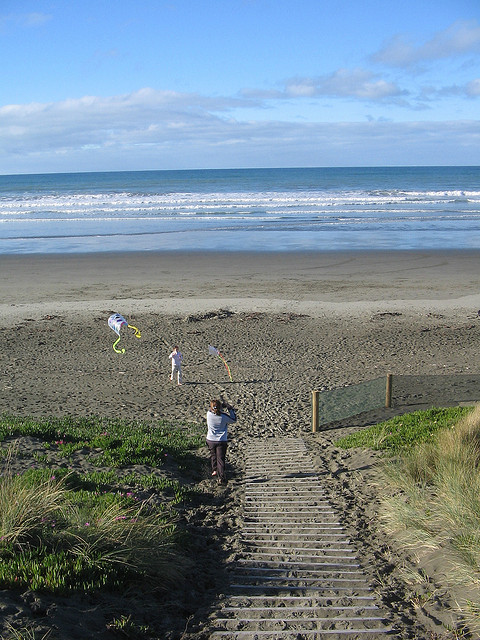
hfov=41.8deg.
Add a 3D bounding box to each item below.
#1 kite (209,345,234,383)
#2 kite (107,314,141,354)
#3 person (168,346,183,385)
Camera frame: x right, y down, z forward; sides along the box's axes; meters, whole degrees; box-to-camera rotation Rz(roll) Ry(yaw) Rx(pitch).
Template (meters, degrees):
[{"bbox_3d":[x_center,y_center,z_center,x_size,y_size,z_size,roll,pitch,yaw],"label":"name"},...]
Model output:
[{"bbox_3d":[-0.539,1.222,17.312,0.197,0.266,1.281,30,22,-44],"label":"kite"},{"bbox_3d":[-3.194,0.250,17.704,0.926,0.366,0.735,30,-7,11],"label":"kite"},{"bbox_3d":[-1.703,1.126,16.359,0.340,0.972,0.963,-4,4,-7],"label":"person"}]
